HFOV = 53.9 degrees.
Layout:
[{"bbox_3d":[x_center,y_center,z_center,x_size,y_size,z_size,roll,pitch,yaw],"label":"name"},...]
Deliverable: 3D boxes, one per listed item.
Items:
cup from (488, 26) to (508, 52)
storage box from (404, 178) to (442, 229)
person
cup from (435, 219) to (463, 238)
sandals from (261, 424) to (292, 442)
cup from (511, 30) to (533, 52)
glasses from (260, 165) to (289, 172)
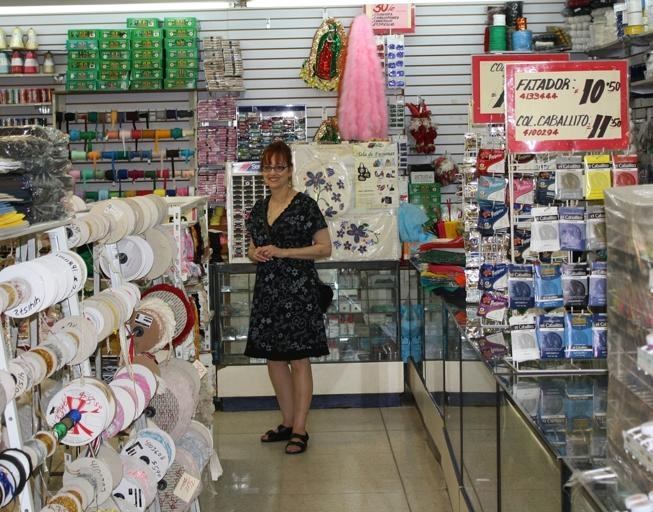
[{"bbox_3d":[1.672,-2.110,6.258,0.175,0.256,0.124,1,7,17],"label":"cup"},{"bbox_3d":[0.967,-0.519,6.186,0.308,0.422,0.574,1,-1,9],"label":"storage box"},{"bbox_3d":[-0.256,0.301,4.117,0.529,2.047,0.472,5,9,41],"label":"person"},{"bbox_3d":[1.049,-0.237,5.511,0.143,0.125,0.167,0,-2,0],"label":"cup"},{"bbox_3d":[-0.347,1.232,4.491,0.220,0.101,0.106,1,1,-7],"label":"sandals"},{"bbox_3d":[1.862,-2.054,6.180,0.194,0.242,0.204,-1,2,0],"label":"cup"},{"bbox_3d":[-0.315,-0.535,3.930,0.156,0.043,0.053,-2,7,-5],"label":"glasses"}]
